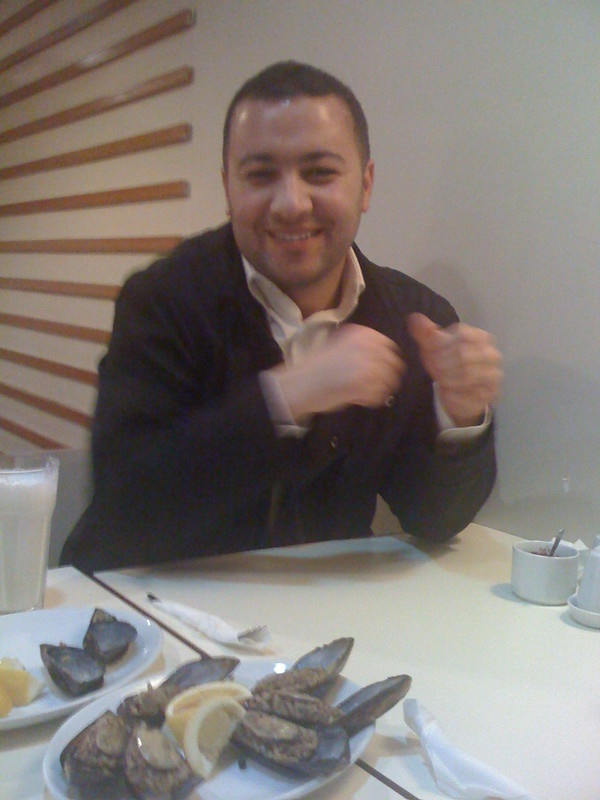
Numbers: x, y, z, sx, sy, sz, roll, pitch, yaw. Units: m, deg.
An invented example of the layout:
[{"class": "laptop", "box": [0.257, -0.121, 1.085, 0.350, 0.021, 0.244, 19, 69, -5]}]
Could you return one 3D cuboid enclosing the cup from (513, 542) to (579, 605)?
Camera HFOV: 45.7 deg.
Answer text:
[{"class": "cup", "box": [0.188, 0.132, 0.567, 0.052, 0.034, 0.050, 1, 1, 0]}]
